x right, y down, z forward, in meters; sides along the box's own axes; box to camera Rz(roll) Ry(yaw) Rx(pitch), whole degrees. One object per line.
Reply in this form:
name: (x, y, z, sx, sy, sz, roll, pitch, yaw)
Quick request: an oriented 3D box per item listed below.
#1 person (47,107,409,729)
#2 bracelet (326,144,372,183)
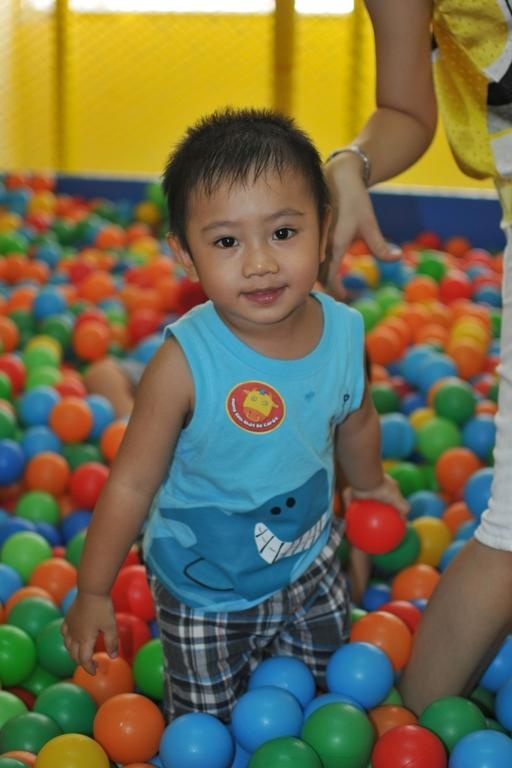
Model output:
person: (-0.018, 0.090, 0.898, 0.580, 0.858, 0.221, -21, 29, -33)
bracelet: (0.148, -0.342, 0.994, 0.060, 0.059, 0.023, -10, -4, -15)
